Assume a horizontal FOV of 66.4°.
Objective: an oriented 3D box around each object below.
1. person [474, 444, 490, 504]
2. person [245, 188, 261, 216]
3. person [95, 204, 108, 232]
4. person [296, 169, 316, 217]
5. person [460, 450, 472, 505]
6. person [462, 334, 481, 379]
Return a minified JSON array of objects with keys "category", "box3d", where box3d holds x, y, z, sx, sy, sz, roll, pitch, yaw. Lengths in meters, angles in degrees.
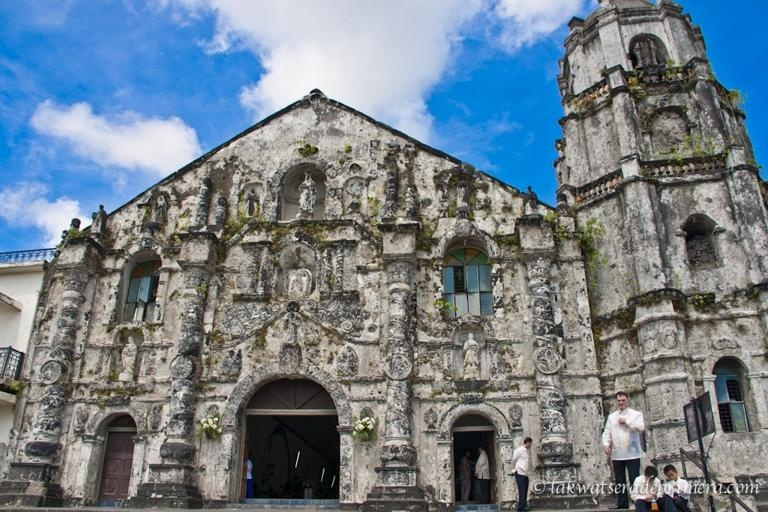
[{"category":"person","box3d":[3.277,7.270,19.568,0.552,1.804,0.956,-2,-28,9]},{"category":"person","box3d":[-5.044,-2.070,22.626,0.643,1.294,0.300,8,-28,-10]},{"category":"person","box3d":[-11.000,-1.390,22.939,0.444,1.036,0.292,17,-31,-26]},{"category":"person","box3d":[-2.955,-2.350,22.700,0.693,2.247,0.868,7,-28,-8]},{"category":"person","box3d":[2.792,7.539,19.985,0.403,1.593,0.746,-2,-28,8]},{"category":"person","box3d":[2.954,3.342,19.923,0.544,1.548,0.447,-2,-28,8]}]
